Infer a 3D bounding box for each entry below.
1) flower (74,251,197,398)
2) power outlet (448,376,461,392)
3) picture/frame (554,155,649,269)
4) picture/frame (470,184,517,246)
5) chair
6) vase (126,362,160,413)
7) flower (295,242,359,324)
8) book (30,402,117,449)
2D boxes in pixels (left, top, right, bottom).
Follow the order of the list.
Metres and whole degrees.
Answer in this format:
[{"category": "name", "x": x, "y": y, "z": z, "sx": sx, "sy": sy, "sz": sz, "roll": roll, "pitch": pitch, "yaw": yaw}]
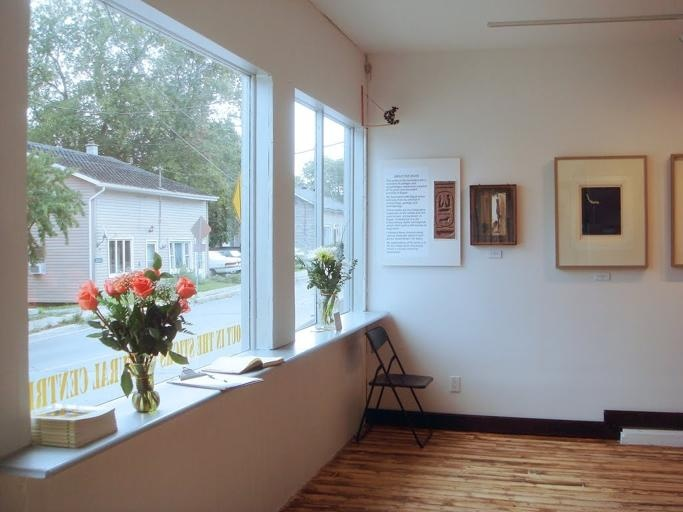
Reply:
[{"category": "flower", "x": -1.075, "y": 0.297, "z": 2.909, "sx": 0.644, "sy": 0.722, "sz": 0.564, "roll": -5, "pitch": 10, "yaw": -37}, {"category": "power outlet", "x": 1.155, "y": 1.322, "z": 5.491, "sx": 0.127, "sy": 0.207, "sz": 0.145, "roll": 1, "pitch": -2, "yaw": -12}, {"category": "picture/frame", "x": 2.531, "y": -0.417, "z": 5.062, "sx": 0.986, "sy": 1.455, "sz": 0.100, "roll": 0, "pitch": 0, "yaw": 3}, {"category": "picture/frame", "x": 1.537, "y": -0.397, "z": 5.283, "sx": 0.551, "sy": 0.799, "sz": 0.054, "roll": 0, "pitch": -1, "yaw": 11}, {"category": "chair", "x": 0.504, "y": 1.238, "z": 5.163, "sx": 0.736, "sy": 1.132, "sz": 0.835, "roll": -1, "pitch": 4, "yaw": 10}, {"category": "vase", "x": -1.008, "y": 0.679, "z": 2.704, "sx": 0.142, "sy": 0.257, "sz": 0.160, "roll": -7, "pitch": -5, "yaw": 21}, {"category": "flower", "x": -0.136, "y": 0.225, "z": 5.013, "sx": 0.560, "sy": 0.824, "sz": 0.693, "roll": -1, "pitch": 0, "yaw": -12}, {"category": "book", "x": -1.201, "y": 0.737, "z": 2.284, "sx": 0.186, "sy": 0.071, "sz": 0.197, "roll": 0, "pitch": -1, "yaw": 23}]
